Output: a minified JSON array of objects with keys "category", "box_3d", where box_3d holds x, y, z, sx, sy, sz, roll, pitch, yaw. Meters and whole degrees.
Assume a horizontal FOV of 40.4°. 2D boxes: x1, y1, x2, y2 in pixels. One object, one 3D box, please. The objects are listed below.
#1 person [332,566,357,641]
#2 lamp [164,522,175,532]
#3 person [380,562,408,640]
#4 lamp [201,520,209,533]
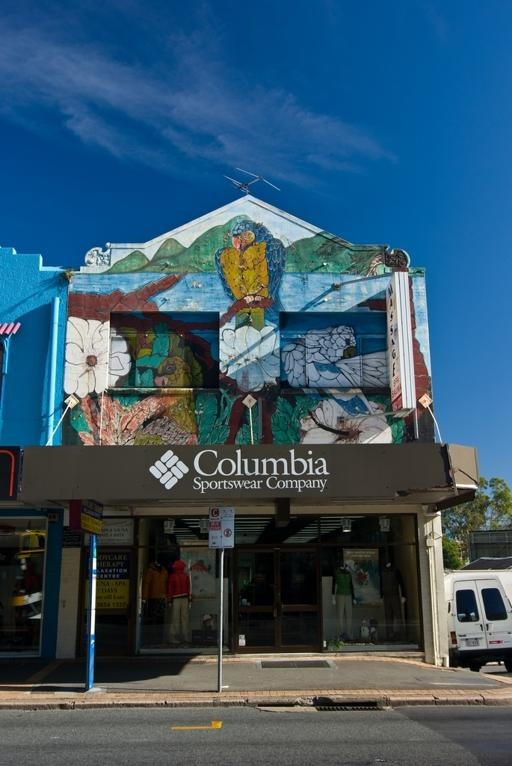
[{"category":"person","box_3d":[1.744,4.337,13.752,0.416,1.447,0.130,-4,-15,-1]},{"category":"lamp","box_3d":[-1.708,2.862,13.844,0.187,0.250,0.072,1,-15,-19]},{"category":"person","box_3d":[2.743,4.355,13.876,0.459,1.428,0.105,-6,-15,8]},{"category":"lamp","box_3d":[-1.011,2.847,13.786,0.127,0.249,0.280,0,-15,-16]}]
